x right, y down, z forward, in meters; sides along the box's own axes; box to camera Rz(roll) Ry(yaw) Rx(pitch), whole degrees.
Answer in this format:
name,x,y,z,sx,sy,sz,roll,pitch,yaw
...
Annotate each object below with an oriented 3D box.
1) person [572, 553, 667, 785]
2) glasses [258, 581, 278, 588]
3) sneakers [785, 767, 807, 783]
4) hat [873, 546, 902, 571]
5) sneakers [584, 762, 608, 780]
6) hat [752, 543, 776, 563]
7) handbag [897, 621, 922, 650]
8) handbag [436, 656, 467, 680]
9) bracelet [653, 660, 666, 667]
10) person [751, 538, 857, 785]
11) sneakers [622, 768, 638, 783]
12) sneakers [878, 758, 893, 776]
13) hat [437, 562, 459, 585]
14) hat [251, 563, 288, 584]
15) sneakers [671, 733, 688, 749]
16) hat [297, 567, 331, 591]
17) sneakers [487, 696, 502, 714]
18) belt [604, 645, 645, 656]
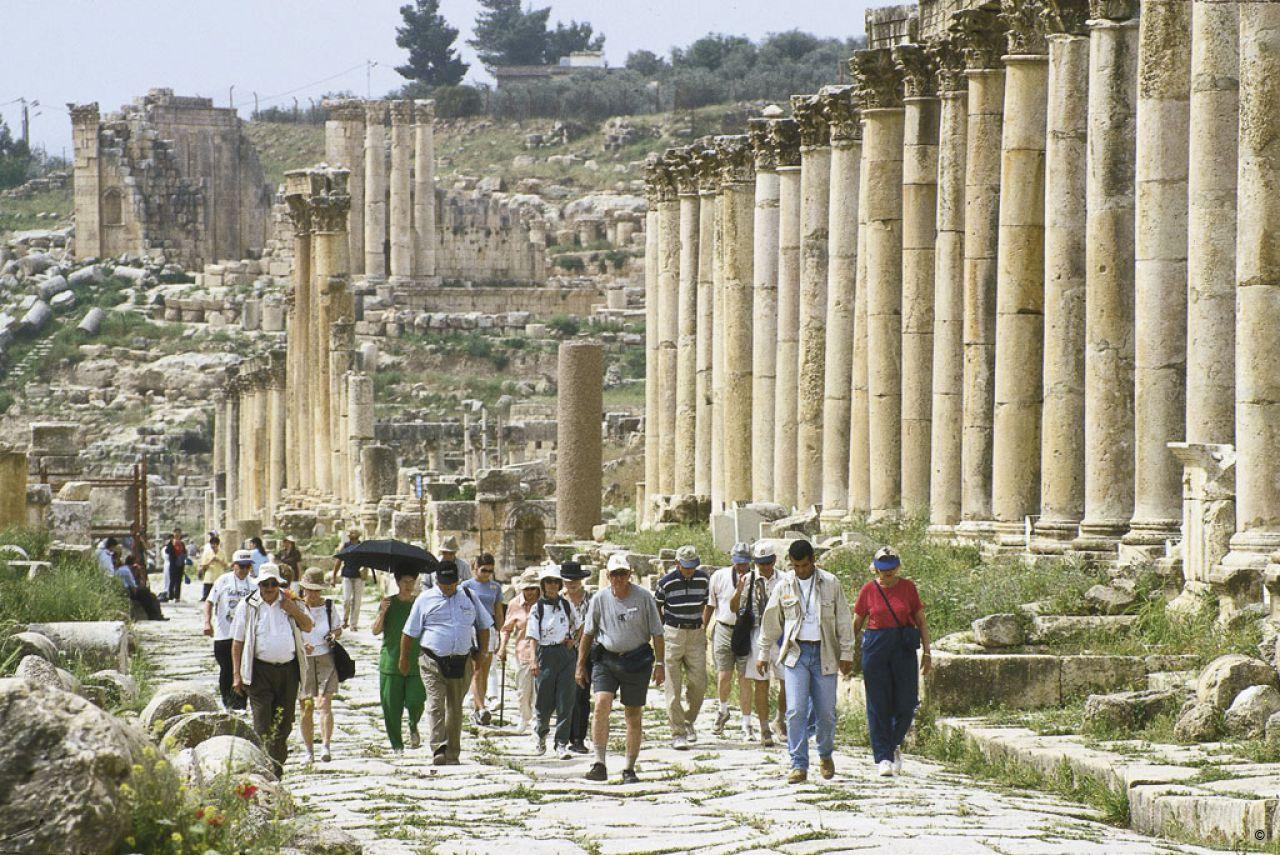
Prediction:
name,x,y,z,sx,sy,sz,roll,pitch,yaw
person,-0.178,2.121,22.110,0.771,1.944,1.278,-2,0,1
glasses,-3.393,1.420,22.588,0.186,0.063,0.077,-2,0,-2
sneakers,1.336,2.956,21.074,0.173,0.115,0.205,-2,0,1
hat,2.147,1.148,21.553,0.203,0.217,0.325,-2,0,-1
sneakers,-0.385,3.019,21.788,0.201,0.157,0.339,-2,0,-2
hat,1.133,1.150,22.698,0.231,0.114,0.312,-1,-3,0
handbag,2.328,1.792,21.427,0.106,0.157,0.208,2,-20,39
handbag,-1.741,2.216,22.964,0.308,0.210,0.176,0,6,-13
bracelet,0.179,2.174,22.679,0.071,0.051,0.068,1,3,-22
person,1.422,1.994,21.498,0.789,2.043,0.849,-2,0,-27
sneakers,-0.095,3.035,21.529,0.083,0.099,0.148,0,-16,-2
sneakers,2.129,2.940,21.345,0.153,0.132,0.217,-2,0,5
hat,-1.812,1.361,23.218,0.202,0.197,0.451,-2,0,-5
hat,-3.512,1.384,23.498,0.383,0.223,0.460,2,-11,-4
sneakers,0.376,2.966,23.386,0.120,0.118,0.302,1,-4,-6
hat,-3.239,1.495,24.428,0.286,0.124,0.321,10,-20,1
sneakers,-1.587,3.004,26.943,0.198,0.094,0.256,2,2,-4
belt,-0.142,1.984,22.137,0.336,0.081,0.068,-2,0,-12
